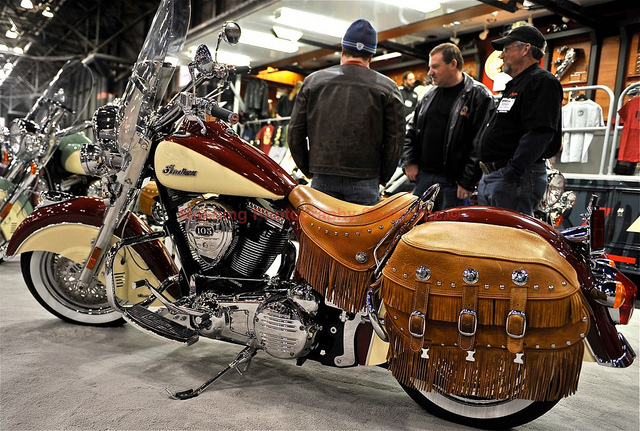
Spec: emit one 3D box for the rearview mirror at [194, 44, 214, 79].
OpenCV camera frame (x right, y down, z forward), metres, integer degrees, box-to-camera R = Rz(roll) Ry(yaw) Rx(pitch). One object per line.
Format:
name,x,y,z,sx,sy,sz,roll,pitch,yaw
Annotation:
rearview mirror,-0.691,-0.903,2.939,0.098,0.182,0.063,-6,25,2

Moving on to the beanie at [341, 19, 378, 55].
beanie,0.315,-1.313,3.620,0.269,0.233,0.409,13,25,10

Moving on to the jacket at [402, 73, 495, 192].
jacket,1.073,-0.618,4.316,0.753,1.050,0.772,8,21,16

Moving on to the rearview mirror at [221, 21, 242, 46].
rearview mirror,-0.536,-1.077,2.938,0.105,0.132,0.174,0,14,-14
